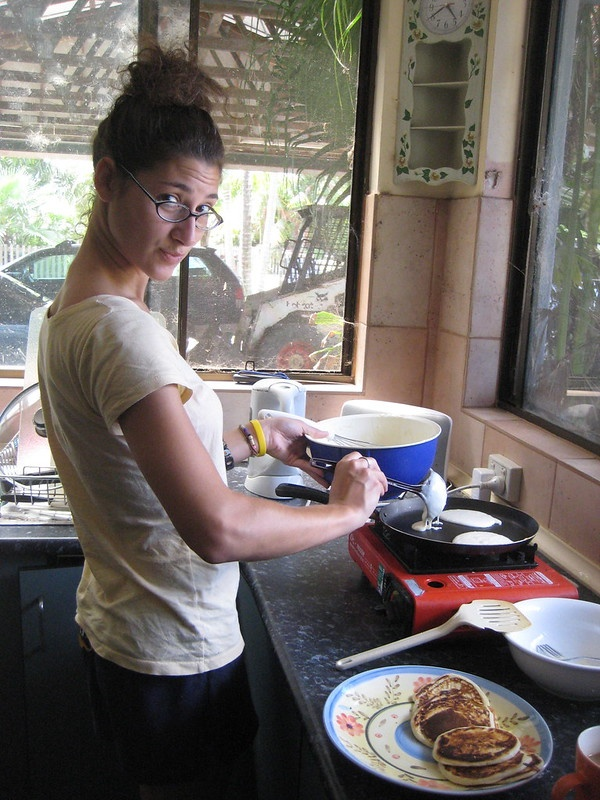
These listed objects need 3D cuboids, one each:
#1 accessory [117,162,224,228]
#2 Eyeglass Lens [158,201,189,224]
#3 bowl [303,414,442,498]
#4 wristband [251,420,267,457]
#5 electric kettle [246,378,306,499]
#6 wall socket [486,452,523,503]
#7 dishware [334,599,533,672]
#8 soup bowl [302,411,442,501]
[{"bbox_3d":[-0.147,-0.251,0.774,0.072,0.021,0.070,46,16,22],"label":"accessory"},{"bbox_3d":[-0.142,-0.212,0.750,0.018,0.021,0.035,7,12,38],"label":"Eyeglass Lens"},{"bbox_3d":[0.152,0.086,1.202,0.193,0.088,0.191,-1,6,0],"label":"bowl"},{"bbox_3d":[-0.072,0.075,1.244,0.022,0.055,0.049,-13,21,-13],"label":"wristband"},{"bbox_3d":[-0.046,0.090,1.642,0.161,0.275,0.276,1,5,-8],"label":"electric kettle"},{"bbox_3d":[0.453,0.177,1.499,0.053,0.085,0.100,-1,14,-11],"label":"wall socket"},{"bbox_3d":[0.177,0.307,0.866,0.256,0.028,0.096,-14,14,-17],"label":"dishware"},{"bbox_3d":[0.156,0.118,1.210,0.203,0.099,0.202,-3,-4,0],"label":"soup bowl"}]
